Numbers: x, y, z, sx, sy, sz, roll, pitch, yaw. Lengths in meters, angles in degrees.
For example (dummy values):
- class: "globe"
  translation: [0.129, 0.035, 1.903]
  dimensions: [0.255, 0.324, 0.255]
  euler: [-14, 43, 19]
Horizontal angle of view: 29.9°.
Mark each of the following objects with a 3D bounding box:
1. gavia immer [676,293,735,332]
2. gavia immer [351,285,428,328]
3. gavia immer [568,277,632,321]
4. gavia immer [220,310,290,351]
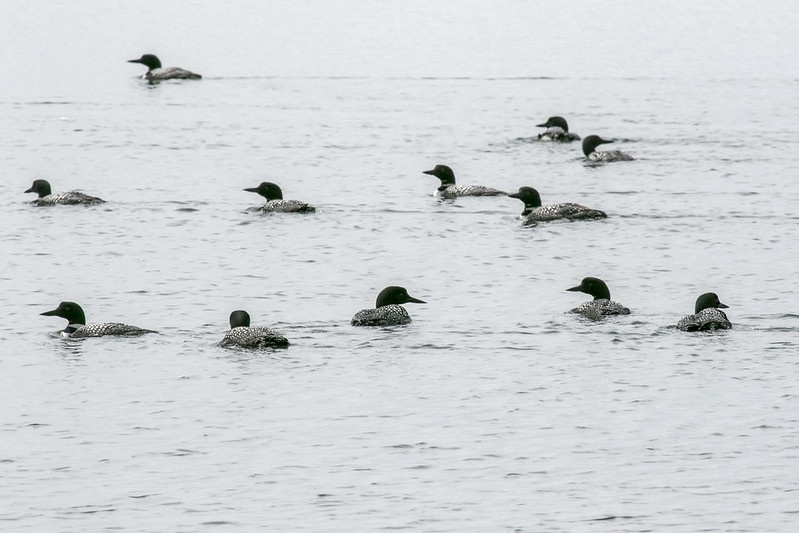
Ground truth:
- class: "gavia immer"
  translation: [6.540, 1.002, 32.294]
  dimensions: [0.830, 0.576, 1.324]
  euler: [7, 8, 44]
- class: "gavia immer"
  translation: [-0.298, 0.929, 32.730]
  dimensions: [1.050, 0.747, 1.214]
  euler: [22, 41, 22]
- class: "gavia immer"
  translation: [4.474, 0.698, 33.256]
  dimensions: [1.490, 0.701, 0.913]
  euler: [3, 4, 35]
- class: "gavia immer"
  translation: [-3.164, 1.328, 31.519]
  dimensions: [0.983, 0.388, 1.231]
  euler: [-2, 7, -34]
